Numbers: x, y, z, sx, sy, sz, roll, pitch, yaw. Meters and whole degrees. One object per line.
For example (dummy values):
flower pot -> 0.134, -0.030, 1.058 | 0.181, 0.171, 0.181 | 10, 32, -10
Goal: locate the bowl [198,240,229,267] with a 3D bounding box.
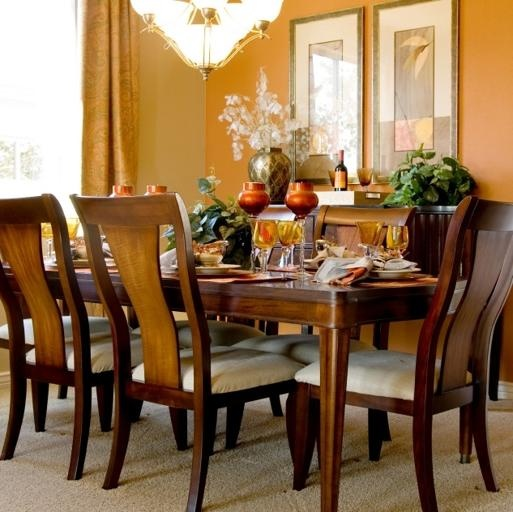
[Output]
bowl -> -0.142, -0.014, 1.719 | 0.099, 0.059, 0.078 | -1, 1, 14

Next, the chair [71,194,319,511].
chair -> -0.229, 0.265, 1.568 | 0.503, 0.938, 0.557 | -14, 15, -42

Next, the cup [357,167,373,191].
cup -> 0.710, -0.518, 3.294 | 0.118, 0.148, 0.120 | 0, -2, 0

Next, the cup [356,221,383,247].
cup -> 0.354, -0.067, 1.567 | 0.080, 0.078, 0.079 | 1, -1, 0

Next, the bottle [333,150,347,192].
bottle -> 0.555, -0.570, 3.331 | 0.081, 0.261, 0.204 | -1, 11, 12

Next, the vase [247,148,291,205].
vase -> 0.053, -0.461, 3.163 | 0.351, 0.420, 0.357 | 0, -3, -5
